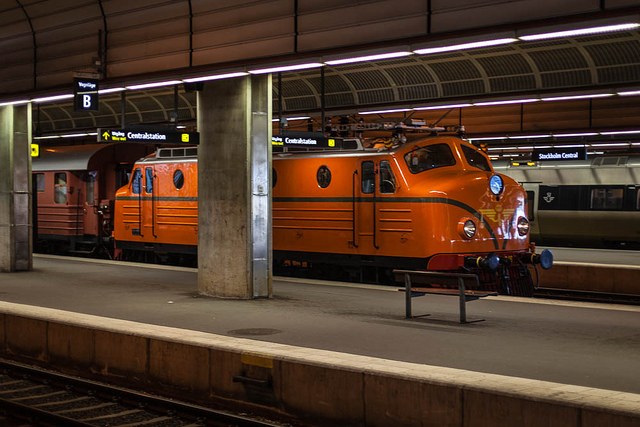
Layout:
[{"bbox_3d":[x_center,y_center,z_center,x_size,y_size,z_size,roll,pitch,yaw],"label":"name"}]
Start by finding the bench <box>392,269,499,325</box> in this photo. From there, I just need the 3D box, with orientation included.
[{"bbox_3d":[2.393,1.574,10.287,0.747,0.825,1.899,6,-7,-41],"label":"bench"}]

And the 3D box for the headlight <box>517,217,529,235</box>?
[{"bbox_3d":[5.399,0.319,14.069,0.441,0.452,0.133,0,-1,-44],"label":"headlight"}]

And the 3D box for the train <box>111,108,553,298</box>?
[{"bbox_3d":[-0.943,-0.451,17.798,14.644,4.773,4.294,1,0,33],"label":"train"}]
